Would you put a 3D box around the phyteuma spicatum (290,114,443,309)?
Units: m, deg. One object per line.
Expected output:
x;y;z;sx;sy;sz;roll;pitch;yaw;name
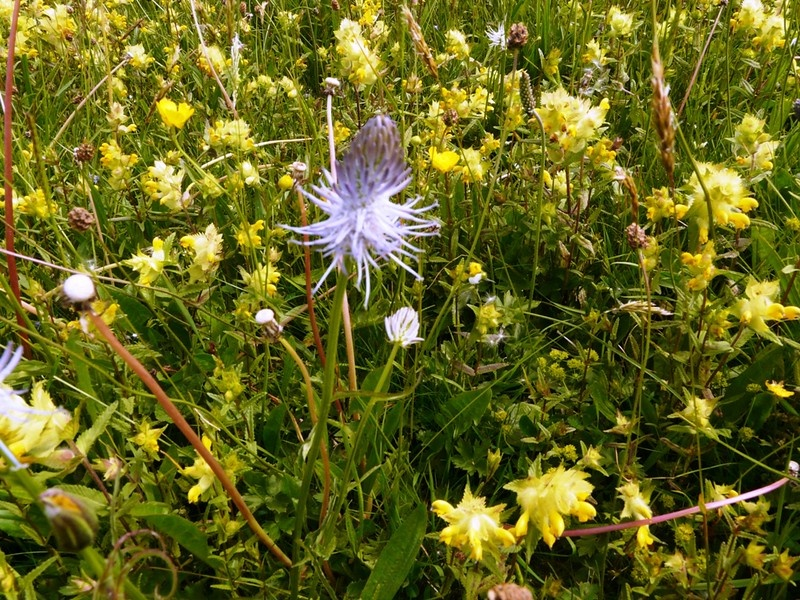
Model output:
-0.100;-0.244;1.713;0.266;0.366;0.262;0;26;8;phyteuma spicatum
